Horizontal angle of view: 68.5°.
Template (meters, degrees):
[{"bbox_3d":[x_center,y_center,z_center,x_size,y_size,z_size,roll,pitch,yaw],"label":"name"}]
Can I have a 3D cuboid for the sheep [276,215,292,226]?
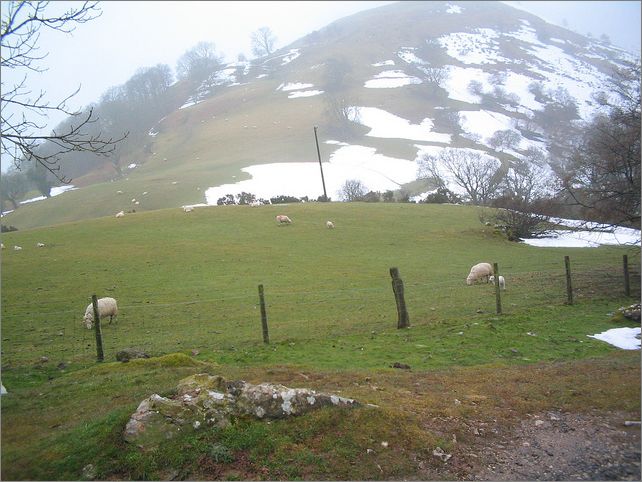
[{"bbox_3d":[-3.161,-1.806,40.734,1.254,0.696,0.941,-1,13,-2],"label":"sheep"}]

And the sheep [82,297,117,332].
[{"bbox_3d":[-9.733,3.181,20.671,0.934,1.208,1.698,4,14,21],"label":"sheep"}]
